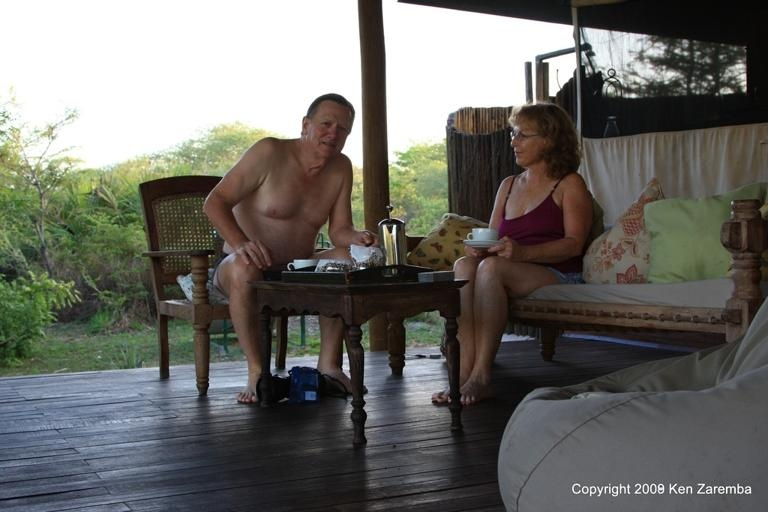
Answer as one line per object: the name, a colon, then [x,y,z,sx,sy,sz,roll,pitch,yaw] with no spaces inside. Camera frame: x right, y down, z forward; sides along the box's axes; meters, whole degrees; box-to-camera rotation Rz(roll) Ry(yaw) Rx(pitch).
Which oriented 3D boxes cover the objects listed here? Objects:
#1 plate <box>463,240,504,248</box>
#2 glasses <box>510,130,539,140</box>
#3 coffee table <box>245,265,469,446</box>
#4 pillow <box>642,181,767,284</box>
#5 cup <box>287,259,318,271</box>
plate: [0.493,-0.059,2.947,0.175,0.044,0.066,1,3,11]
glasses: [0.789,-0.663,3.222,0.115,0.036,0.114,0,7,-18]
coffee table: [-0.104,0.182,2.643,0.648,0.751,1.086,-5,5,-30]
pillow: [1.495,-0.091,2.746,0.525,0.437,0.188,-6,-21,29]
cup: [-0.379,0.040,2.735,0.085,0.037,0.083,-2,3,0]
